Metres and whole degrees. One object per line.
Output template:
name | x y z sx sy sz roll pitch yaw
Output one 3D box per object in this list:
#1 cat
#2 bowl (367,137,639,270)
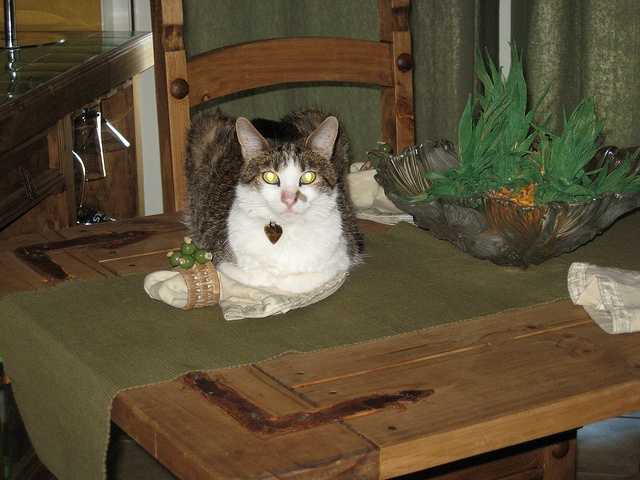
cat | -0.077 -0.081 1.415 0.407 0.228 0.480 2 18 -3
bowl | 0.319 -0.120 1.271 0.447 0.138 0.364 0 15 3
